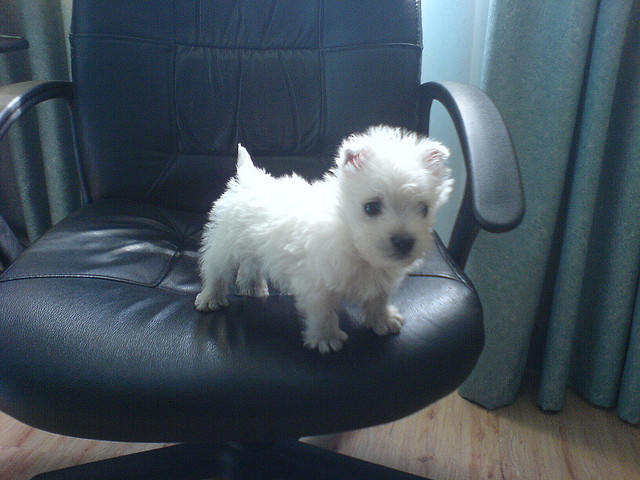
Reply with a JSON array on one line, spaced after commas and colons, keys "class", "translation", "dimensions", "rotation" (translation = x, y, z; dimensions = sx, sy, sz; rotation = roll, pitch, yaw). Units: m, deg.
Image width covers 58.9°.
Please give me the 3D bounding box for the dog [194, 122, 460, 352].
[{"class": "dog", "translation": [-0.007, -0.012, 1.177], "dimensions": [0.499, 0.440, 0.250], "rotation": [12, 17, 29]}]
